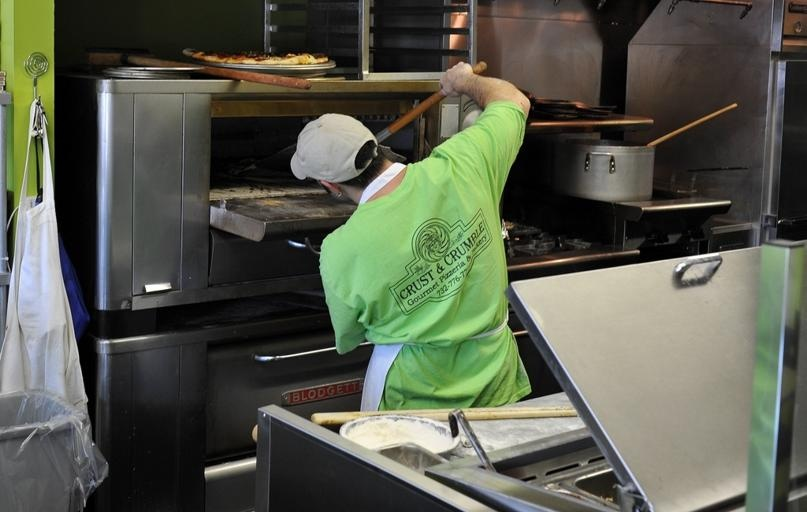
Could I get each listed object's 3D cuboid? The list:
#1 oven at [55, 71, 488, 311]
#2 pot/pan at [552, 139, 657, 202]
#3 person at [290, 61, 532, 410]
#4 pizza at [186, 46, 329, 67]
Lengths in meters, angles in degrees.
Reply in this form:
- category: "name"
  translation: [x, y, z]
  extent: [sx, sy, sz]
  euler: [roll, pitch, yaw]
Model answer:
- category: "oven"
  translation: [-0.578, -0.242, 2.982]
  extent: [1.248, 0.842, 1.360]
  euler: [16, 17, 42]
- category: "pot/pan"
  translation: [0.911, -0.424, 3.329]
  extent: [0.321, 0.175, 0.349]
  euler: [6, 14, 17]
- category: "person"
  translation: [0.068, 0.002, 2.245]
  extent: [0.719, 0.946, 0.323]
  euler: [-4, 7, -23]
- category: "pizza"
  translation: [-0.540, -0.735, 2.709]
  extent: [0.527, 0.080, 0.243]
  euler: [-3, 8, -14]
